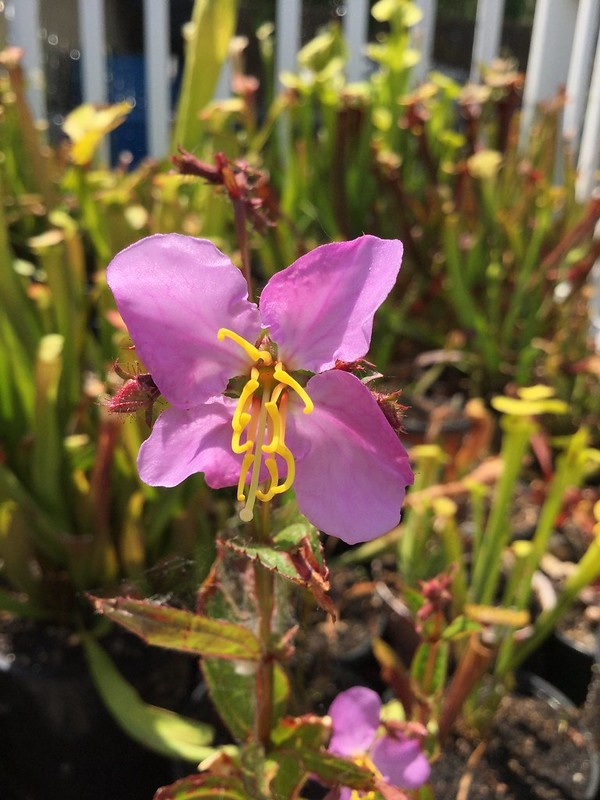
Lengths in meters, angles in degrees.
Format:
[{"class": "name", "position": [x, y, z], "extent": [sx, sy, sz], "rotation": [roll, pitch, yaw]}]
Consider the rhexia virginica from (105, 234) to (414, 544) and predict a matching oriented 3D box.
[{"class": "rhexia virginica", "position": [-0.017, -0.012, 0.342], "extent": [0.137, 0.109, 0.066], "rotation": [-11, -1, -39]}]

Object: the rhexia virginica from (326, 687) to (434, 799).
[{"class": "rhexia virginica", "position": [0.046, 0.202, 0.438], "extent": [0.044, 0.044, 0.067], "rotation": [-8, 28, -29]}]
